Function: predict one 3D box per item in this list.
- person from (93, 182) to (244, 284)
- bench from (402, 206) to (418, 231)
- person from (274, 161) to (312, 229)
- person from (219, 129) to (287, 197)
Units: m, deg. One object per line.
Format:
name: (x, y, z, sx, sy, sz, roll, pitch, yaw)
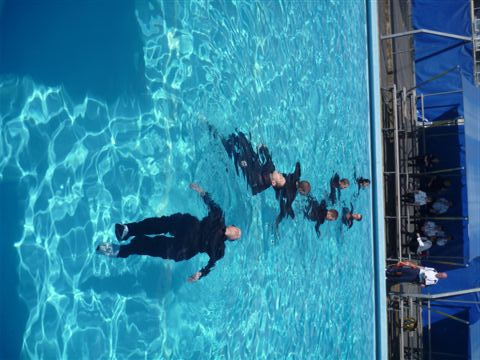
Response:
person: (-0.968, 0.738, 11.243, 1.702, 0.551, 1.253, -1, 74, -9)
bench: (3.553, 0.787, 16.284, 0.475, 0.110, 0.545, 4, 87, -54)
person: (0.828, 0.252, 12.800, 0.300, 0.968, 0.542, 4, 86, 18)
person: (0.214, -0.228, 12.265, 1.056, 0.297, 0.688, 49, 65, -37)
